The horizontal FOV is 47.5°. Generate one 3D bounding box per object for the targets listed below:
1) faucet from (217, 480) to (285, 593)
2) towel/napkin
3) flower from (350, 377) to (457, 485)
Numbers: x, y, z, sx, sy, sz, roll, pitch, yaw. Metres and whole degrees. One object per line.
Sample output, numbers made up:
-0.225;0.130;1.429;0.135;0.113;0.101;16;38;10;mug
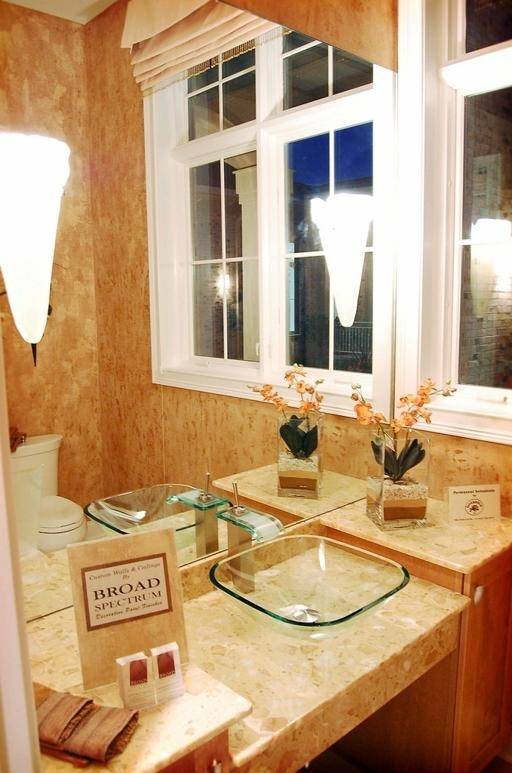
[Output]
-0.018;0.323;1.294;0.107;0.302;0.175;-9;11;-40;faucet
-0.227;0.420;0.719;0.157;0.035;0.082;0;9;20;towel/napkin
0.401;0.120;1.557;0.250;0.314;0.140;3;9;24;flower
